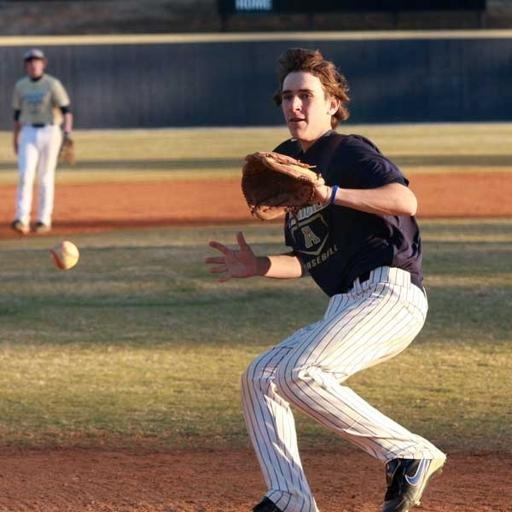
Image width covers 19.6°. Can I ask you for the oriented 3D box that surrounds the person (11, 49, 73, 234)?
[{"bbox_3d":[-2.038,-1.068,14.086,0.607,1.752,0.539,-4,9,-9],"label":"person"}]

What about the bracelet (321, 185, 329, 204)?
[{"bbox_3d":[0.485,-0.439,10.506,0.088,0.128,0.042,-2,9,1],"label":"bracelet"}]

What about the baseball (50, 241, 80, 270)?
[{"bbox_3d":[-1.771,-0.022,13.933,0.296,0.256,0.264,11,7,-5],"label":"baseball"}]

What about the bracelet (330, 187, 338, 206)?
[{"bbox_3d":[0.544,-0.438,10.492,0.044,0.098,0.078,6,0,-3],"label":"bracelet"}]
